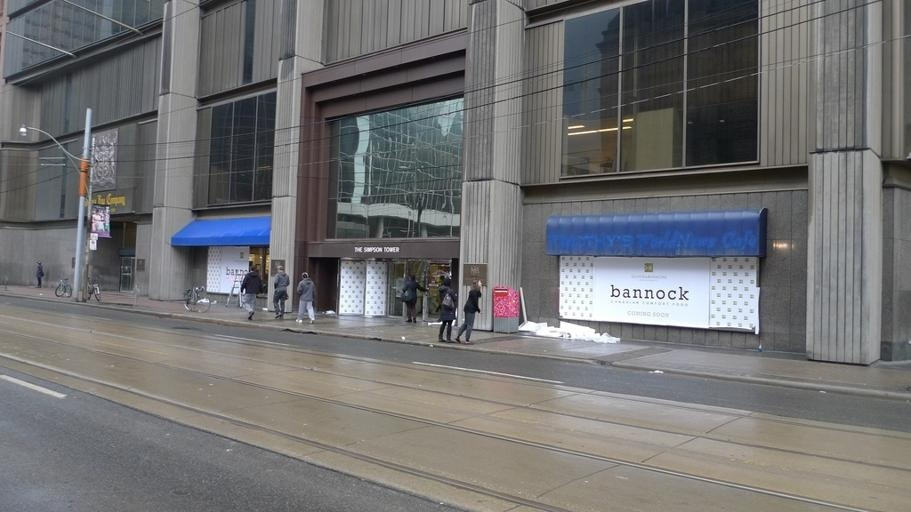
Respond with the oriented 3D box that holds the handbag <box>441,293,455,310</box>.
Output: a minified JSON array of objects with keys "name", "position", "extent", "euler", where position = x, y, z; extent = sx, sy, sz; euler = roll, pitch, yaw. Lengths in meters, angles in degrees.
[{"name":"handbag","position":[-0.337,1.837,30.970],"extent":[0.339,0.571,0.620],"euler":[-8,-12,35]}]

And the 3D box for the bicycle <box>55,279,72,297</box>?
[{"name":"bicycle","position":[-26.303,2.119,50.525],"extent":[0.918,1.088,1.803],"euler":[2,-7,8]}]

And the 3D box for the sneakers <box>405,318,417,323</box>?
[{"name":"sneakers","position":[-2.239,3.179,37.379],"extent":[0.527,0.210,0.171],"euler":[3,-1,29]}]

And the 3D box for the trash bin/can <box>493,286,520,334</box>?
[{"name":"trash bin/can","position":[2.220,2.373,33.955],"extent":[1.169,2.038,0.612],"euler":[1,-2,-4]}]

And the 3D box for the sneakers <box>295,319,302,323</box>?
[{"name":"sneakers","position":[-7.456,3.070,35.902],"extent":[0.139,0.165,0.406],"euler":[1,3,-28]}]

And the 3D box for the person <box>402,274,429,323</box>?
[{"name":"person","position":[-2.202,2.055,37.547],"extent":[0.878,2.406,1.234],"euler":[-1,-3,24]}]

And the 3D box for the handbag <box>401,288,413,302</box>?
[{"name":"handbag","position":[-2.433,1.896,37.219],"extent":[0.714,0.646,0.286],"euler":[-2,-9,10]}]
